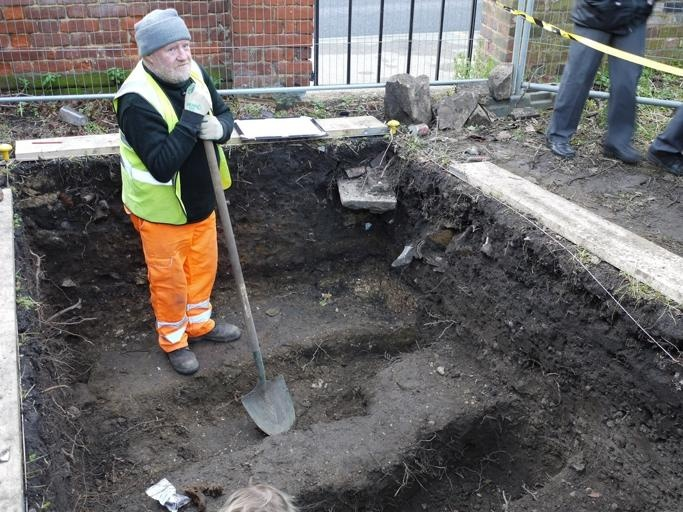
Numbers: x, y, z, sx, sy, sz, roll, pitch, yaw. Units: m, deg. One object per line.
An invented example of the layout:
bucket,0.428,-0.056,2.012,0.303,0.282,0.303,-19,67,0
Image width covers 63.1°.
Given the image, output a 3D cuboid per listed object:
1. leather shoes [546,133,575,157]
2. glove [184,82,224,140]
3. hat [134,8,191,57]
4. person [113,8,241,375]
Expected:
leather shoes,1.994,-1.014,5.117,0.150,0.092,0.273,-32,52,-16
glove,-0.937,-0.980,3.797,0.148,0.398,0.227,-10,6,44
hat,-1.219,-1.483,3.691,0.313,0.214,0.319,-8,29,17
person,-1.184,-0.379,4.196,0.871,2.660,0.596,-22,38,-27
